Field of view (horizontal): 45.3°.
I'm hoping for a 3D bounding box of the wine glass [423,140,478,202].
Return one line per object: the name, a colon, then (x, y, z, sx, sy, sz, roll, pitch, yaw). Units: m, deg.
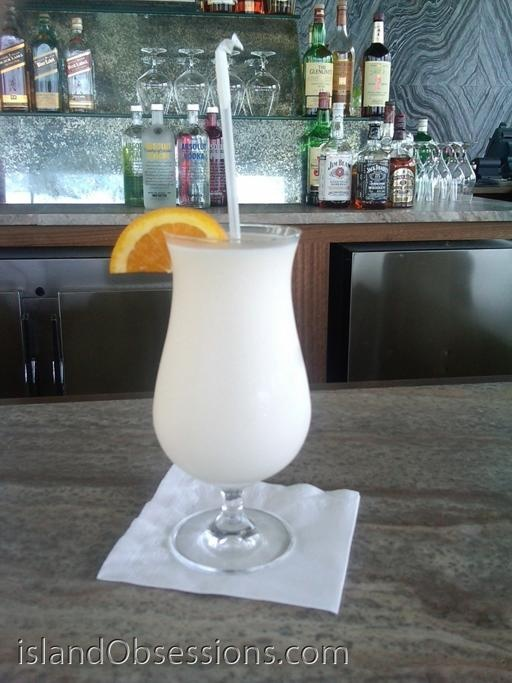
wine glass: (0.758, -0.658, 2.391, 0.174, 0.220, 0.095, 3, 14, 13)
